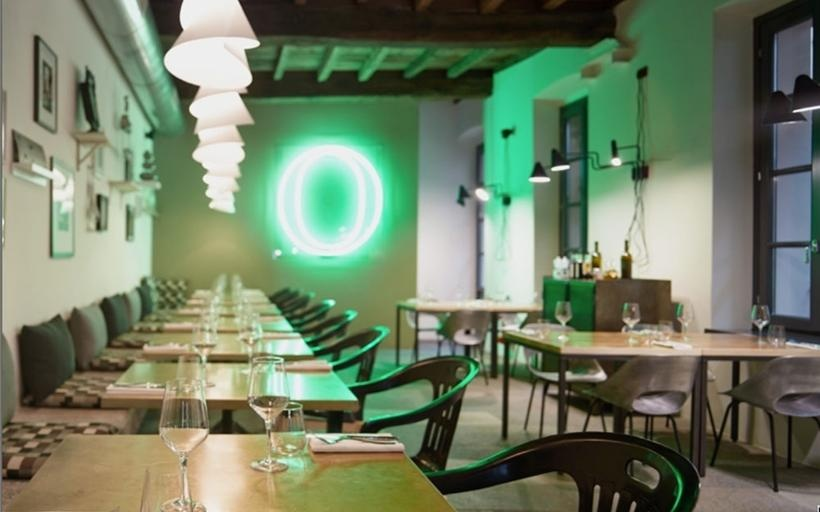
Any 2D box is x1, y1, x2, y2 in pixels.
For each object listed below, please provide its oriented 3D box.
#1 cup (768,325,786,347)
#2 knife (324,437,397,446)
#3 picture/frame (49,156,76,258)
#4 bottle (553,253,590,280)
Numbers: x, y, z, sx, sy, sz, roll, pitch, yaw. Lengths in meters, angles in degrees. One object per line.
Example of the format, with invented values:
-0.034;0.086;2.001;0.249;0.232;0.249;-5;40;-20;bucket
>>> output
2.794;0.615;4.726;0.151;0.180;0.150;-1;-3;0;cup
-0.243;0.873;2.936;0.358;0.026;0.090;2;-2;-8;knife
-3.068;-0.396;5.488;0.129;0.931;0.648;2;-1;-21;picture/frame
1.742;0.186;6.647;0.441;0.289;0.248;-3;-5;40;bottle
